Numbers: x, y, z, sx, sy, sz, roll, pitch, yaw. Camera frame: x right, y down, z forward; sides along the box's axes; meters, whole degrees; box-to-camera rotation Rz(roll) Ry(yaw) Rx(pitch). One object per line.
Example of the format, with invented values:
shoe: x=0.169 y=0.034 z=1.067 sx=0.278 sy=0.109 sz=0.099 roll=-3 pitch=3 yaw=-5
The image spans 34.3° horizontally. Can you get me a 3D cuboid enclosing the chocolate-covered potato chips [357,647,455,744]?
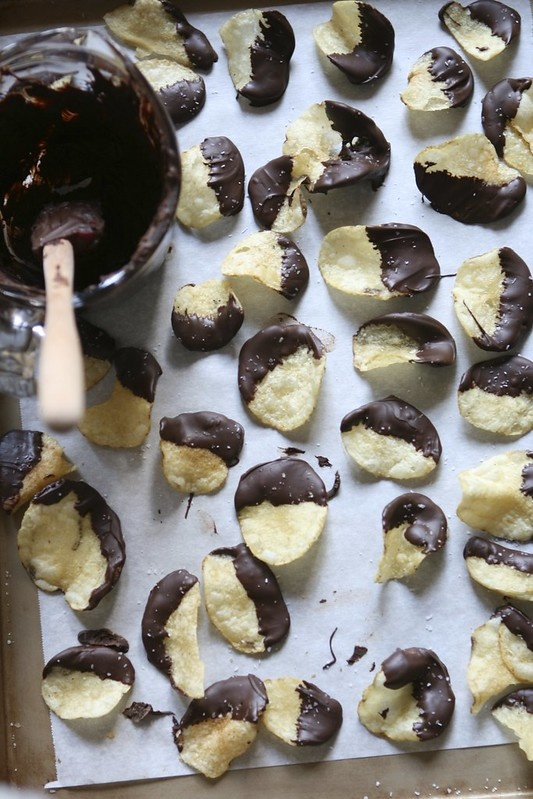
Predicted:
chocolate-covered potato chips: x=0.135 y=0.282 z=0.862 sx=0.090 sy=0.031 sz=0.091 roll=31 pitch=87 yaw=-3

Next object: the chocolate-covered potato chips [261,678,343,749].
chocolate-covered potato chips: x=0.034 y=0.295 z=0.817 sx=0.071 sy=0.023 sz=0.056 roll=2 pitch=54 yaw=2

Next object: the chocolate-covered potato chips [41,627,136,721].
chocolate-covered potato chips: x=-0.170 y=0.255 z=0.834 sx=0.087 sy=0.025 sz=0.078 roll=7 pitch=92 yaw=6

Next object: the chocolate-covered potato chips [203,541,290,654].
chocolate-covered potato chips: x=-0.023 y=0.187 z=0.840 sx=0.076 sy=0.022 sz=0.098 roll=-19 pitch=91 yaw=8

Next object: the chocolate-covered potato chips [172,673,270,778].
chocolate-covered potato chips: x=-0.041 y=0.306 z=0.822 sx=0.064 sy=0.042 sz=0.096 roll=35 pitch=61 yaw=22

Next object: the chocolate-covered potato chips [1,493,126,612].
chocolate-covered potato chips: x=-0.188 y=0.144 z=0.849 sx=0.098 sy=0.065 sz=0.116 roll=-37 pitch=62 yaw=-23
